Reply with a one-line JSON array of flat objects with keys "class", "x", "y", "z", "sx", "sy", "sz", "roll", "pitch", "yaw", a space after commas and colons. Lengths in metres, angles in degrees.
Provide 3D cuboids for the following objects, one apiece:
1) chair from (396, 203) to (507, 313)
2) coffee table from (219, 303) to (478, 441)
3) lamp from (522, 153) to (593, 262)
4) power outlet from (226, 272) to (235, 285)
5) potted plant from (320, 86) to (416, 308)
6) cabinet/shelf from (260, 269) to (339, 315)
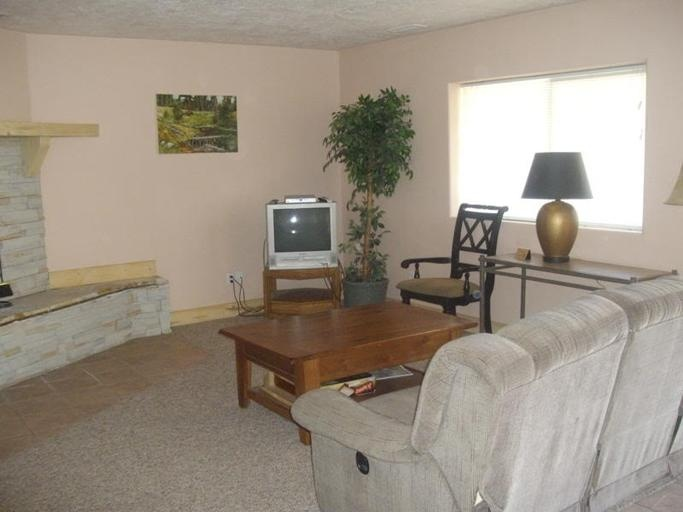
[{"class": "chair", "x": 1.017, "y": 0.113, "z": 4.942, "sx": 0.867, "sy": 1.084, "sz": 0.801, "roll": -14, "pitch": 15, "yaw": -40}, {"class": "coffee table", "x": -0.109, "y": 0.569, "z": 3.566, "sx": 1.465, "sy": 0.582, "sz": 0.870, "roll": -6, "pitch": 9, "yaw": -34}, {"class": "lamp", "x": 1.631, "y": -0.367, "z": 4.034, "sx": 0.479, "sy": 0.822, "sz": 0.264, "roll": 5, "pitch": 16, "yaw": 22}, {"class": "power outlet", "x": -1.238, "y": 0.248, "z": 5.968, "sx": 0.096, "sy": 0.126, "sz": 0.030, "roll": -9, "pitch": 17, "yaw": -29}, {"class": "potted plant", "x": 0.315, "y": -0.485, "z": 5.731, "sx": 1.120, "sy": 2.406, "sz": 0.893, "roll": 0, "pitch": 9, "yaw": -7}, {"class": "cabinet/shelf", "x": -0.449, "y": 0.380, "z": 5.501, "sx": 0.592, "sy": 0.378, "sz": 0.566, "roll": -3, "pitch": 8, "yaw": -16}]
